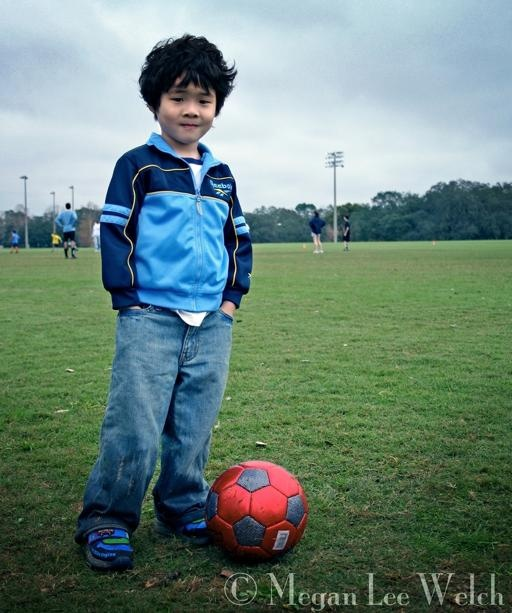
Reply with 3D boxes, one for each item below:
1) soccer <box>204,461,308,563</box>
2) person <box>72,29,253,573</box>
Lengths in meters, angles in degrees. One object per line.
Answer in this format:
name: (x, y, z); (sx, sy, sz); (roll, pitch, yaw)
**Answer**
soccer: (0.046, 0.829, 2.528); (0.342, 0.364, 0.357); (-6, -39, 20)
person: (-0.356, -0.050, 2.483); (0.314, 2.023, 0.745); (6, 8, 44)
